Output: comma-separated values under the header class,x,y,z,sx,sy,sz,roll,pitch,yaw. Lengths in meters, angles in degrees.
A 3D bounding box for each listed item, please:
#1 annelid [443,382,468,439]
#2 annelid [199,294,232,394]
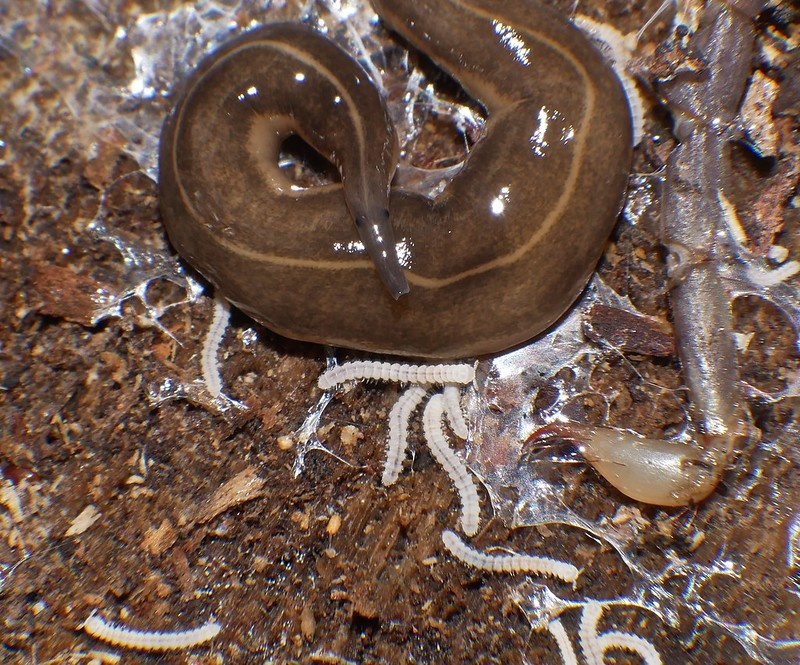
class,x,y,z,sx,sy,sz,roll,pitch,yaw
annelid,0.238,0.346,4.012,0.076,0.060,0.286,-8,85,-31
annelid,-0.821,0.054,4.001,0.092,0.059,0.443,5,76,-1
